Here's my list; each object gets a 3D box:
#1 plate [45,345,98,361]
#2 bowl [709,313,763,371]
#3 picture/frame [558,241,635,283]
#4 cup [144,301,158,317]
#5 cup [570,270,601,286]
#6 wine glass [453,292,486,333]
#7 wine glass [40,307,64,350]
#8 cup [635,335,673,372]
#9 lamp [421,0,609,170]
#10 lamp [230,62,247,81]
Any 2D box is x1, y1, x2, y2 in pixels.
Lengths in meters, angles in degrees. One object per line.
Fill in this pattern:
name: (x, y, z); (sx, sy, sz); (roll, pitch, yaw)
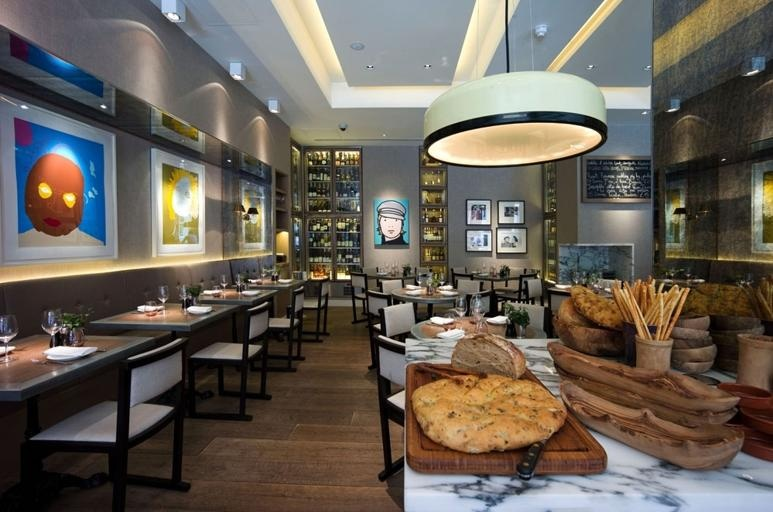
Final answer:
plate: (-2.133, 0.657, 3.493); (0.303, 0.102, 0.157); (-1, 0, -23)
bowl: (1.844, 0.456, 2.783); (0.232, 0.278, 0.294); (1, -8, -1)
picture/frame: (3.142, 0.076, 7.663); (1.236, 0.765, 0.609); (0, -3, 7)
cup: (-2.035, 0.454, 4.460); (0.128, 0.112, 0.113); (-2, 3, -32)
cup: (2.721, 0.299, 7.046); (0.263, 0.133, 0.249); (-1, 2, 0)
wine glass: (0.765, 0.452, 4.253); (0.333, 0.322, 0.312); (0, -3, -10)
wine glass: (-2.382, 0.511, 3.687); (0.109, 0.285, 0.222); (-1, 0, -33)
cup: (1.380, 0.510, 2.742); (0.181, 0.178, 0.173); (2, -2, 0)
lamp: (0.642, -0.808, 3.072); (0.954, 0.959, 0.912); (-1, 0, -7)
lamp: (-1.639, -2.022, 5.634); (0.152, 0.203, 0.146); (-1, 0, -9)
